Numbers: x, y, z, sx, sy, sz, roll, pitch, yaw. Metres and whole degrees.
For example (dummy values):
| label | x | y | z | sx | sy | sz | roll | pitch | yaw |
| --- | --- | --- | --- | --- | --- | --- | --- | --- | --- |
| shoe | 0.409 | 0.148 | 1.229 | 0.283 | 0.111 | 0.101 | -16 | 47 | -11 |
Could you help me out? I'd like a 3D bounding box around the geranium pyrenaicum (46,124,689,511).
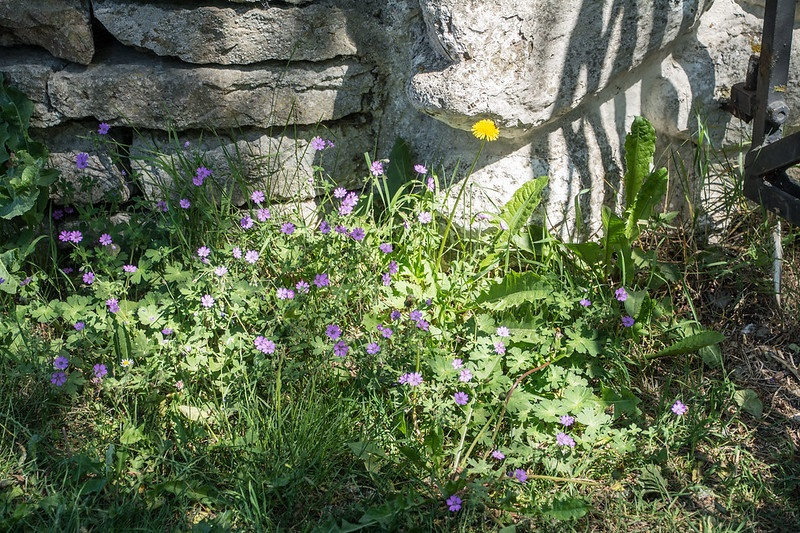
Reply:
| label | x | y | z | sx | sy | sz | roll | pitch | yaw |
| --- | --- | --- | --- | --- | --- | --- | --- | --- | --- |
| geranium pyrenaicum | -0.120 | 0.425 | 3.129 | 2.268 | 0.770 | 1.940 | -4 | 67 | -7 |
